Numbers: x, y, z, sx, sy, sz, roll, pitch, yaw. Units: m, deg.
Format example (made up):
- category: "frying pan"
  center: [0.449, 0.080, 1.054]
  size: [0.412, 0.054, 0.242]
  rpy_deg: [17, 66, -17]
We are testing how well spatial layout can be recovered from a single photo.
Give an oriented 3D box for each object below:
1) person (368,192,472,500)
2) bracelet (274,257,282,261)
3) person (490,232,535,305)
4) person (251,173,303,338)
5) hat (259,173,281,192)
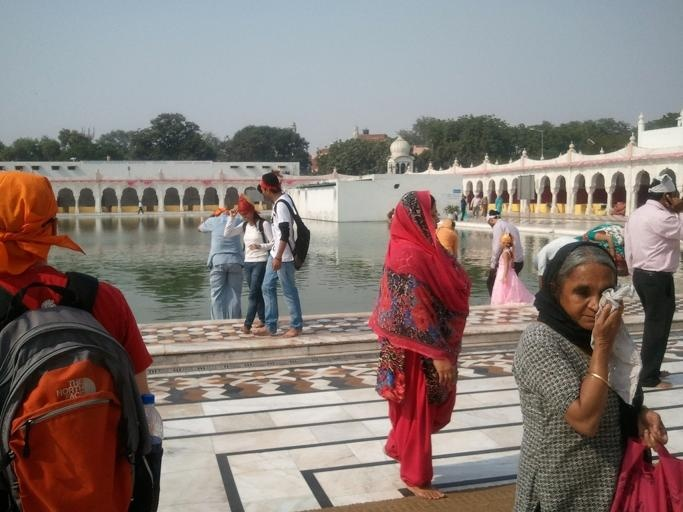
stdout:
- category: "person"
  center: [0.387, 0.421, 3.337]
  size: [0.466, 1.499, 0.440]
  rpy_deg: [2, 7, 28]
- category: "bracelet"
  center: [-0.570, 0.025, 5.959]
  size: [0.039, 0.017, 0.045]
  rpy_deg: [8, -10, -42]
- category: "person"
  center: [2.108, 0.189, 8.108]
  size: [0.548, 0.872, 0.534]
  rpy_deg: [0, 12, 24]
- category: "person"
  center: [-0.609, -0.025, 6.250]
  size: [0.415, 1.562, 0.641]
  rpy_deg: [-2, 6, -4]
- category: "hat"
  center: [-0.682, -0.716, 6.378]
  size: [0.165, 0.183, 0.222]
  rpy_deg: [-11, 21, -36]
